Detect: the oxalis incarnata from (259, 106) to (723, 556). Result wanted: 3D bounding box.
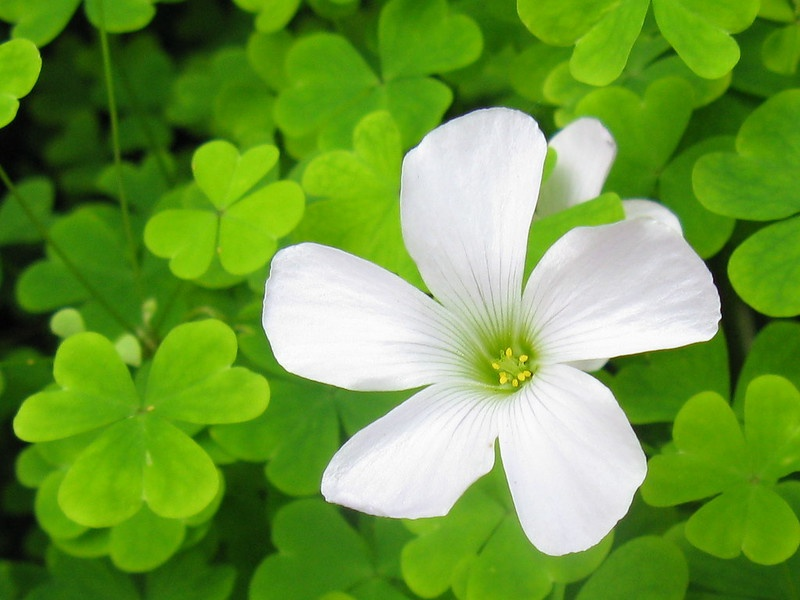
[{"bbox_3d":[0.160,0.108,1.245,0.647,0.719,0.244,9,46,32],"label":"oxalis incarnata"}]
